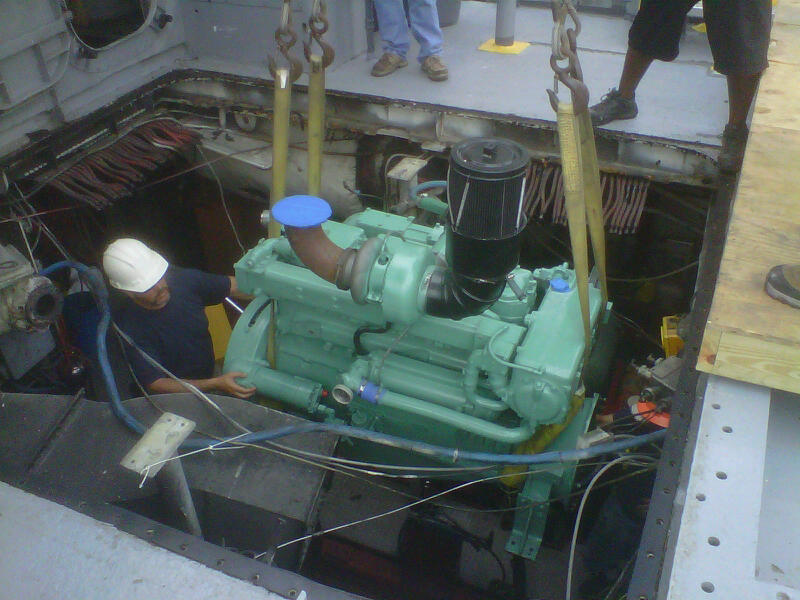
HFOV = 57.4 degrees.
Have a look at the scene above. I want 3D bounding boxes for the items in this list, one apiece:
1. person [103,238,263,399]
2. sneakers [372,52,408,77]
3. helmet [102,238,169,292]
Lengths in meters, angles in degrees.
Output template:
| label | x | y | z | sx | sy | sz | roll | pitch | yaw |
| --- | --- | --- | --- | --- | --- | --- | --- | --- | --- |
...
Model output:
| label | x | y | z | sx | sy | sz | roll | pitch | yaw |
| --- | --- | --- | --- | --- | --- | --- | --- | --- | --- |
| person | -1.473 | 0.156 | 4.923 | 0.623 | 1.040 | 0.728 | -2 | 70 | 8 |
| sneakers | -0.109 | -2.122 | 6.533 | 0.144 | 0.179 | 0.409 | 28 | 48 | 22 |
| helmet | -1.728 | -0.204 | 4.721 | 0.363 | 0.199 | 0.310 | 14 | 71 | 18 |
